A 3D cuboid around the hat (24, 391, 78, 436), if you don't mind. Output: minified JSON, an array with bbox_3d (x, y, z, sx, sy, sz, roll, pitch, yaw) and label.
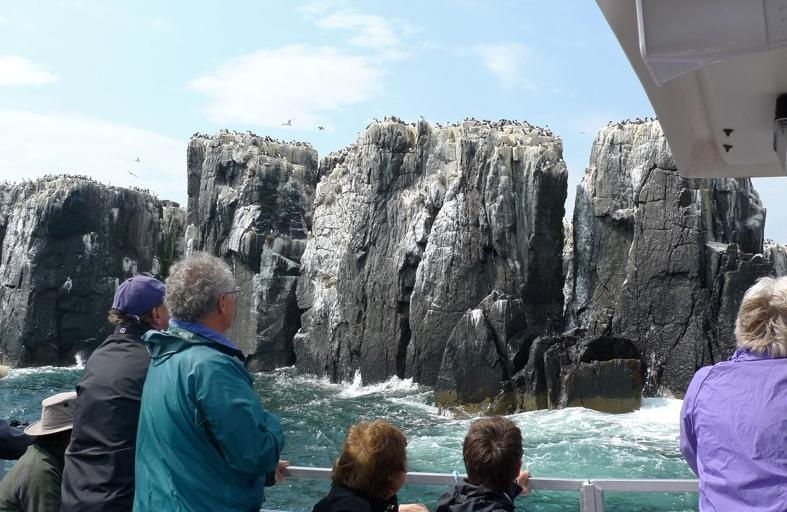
[{"bbox_3d":[-6.068,2.798,18.576,0.860,0.331,0.765,-3,-1,-35],"label":"hat"}]
